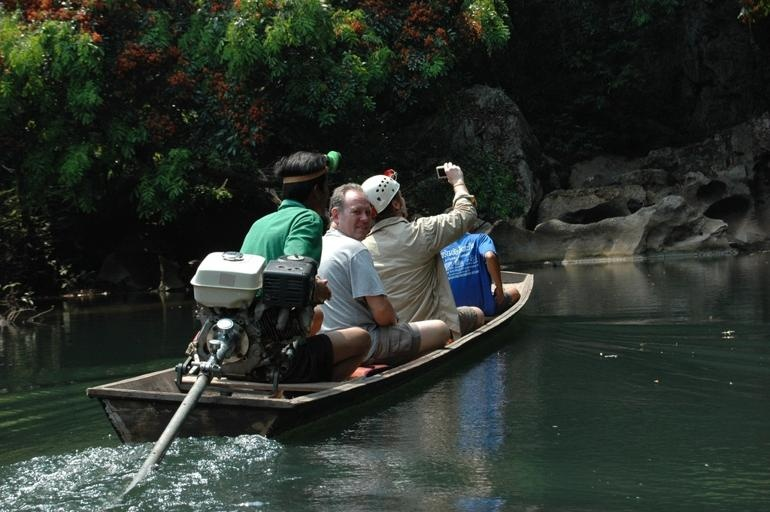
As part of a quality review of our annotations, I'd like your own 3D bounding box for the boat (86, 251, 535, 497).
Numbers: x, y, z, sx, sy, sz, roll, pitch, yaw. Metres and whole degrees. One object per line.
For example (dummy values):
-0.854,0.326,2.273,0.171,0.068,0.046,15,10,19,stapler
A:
-0.861,0.807,8.165,1.251,0.986,4.238,0,5,30,boat
